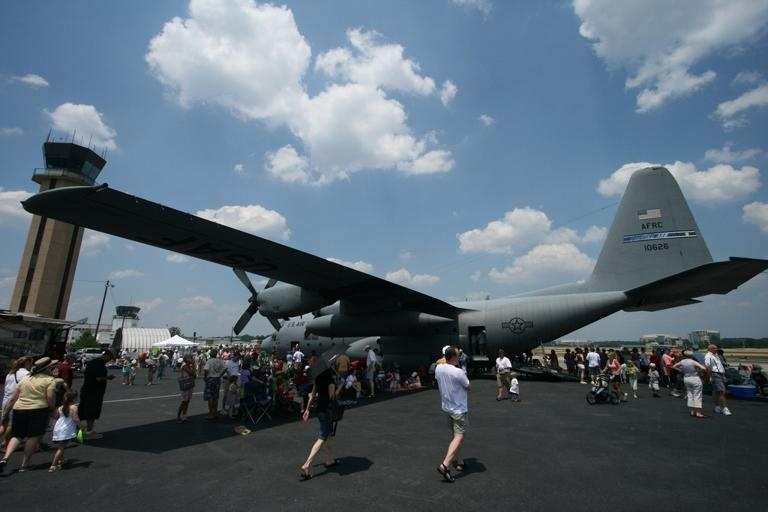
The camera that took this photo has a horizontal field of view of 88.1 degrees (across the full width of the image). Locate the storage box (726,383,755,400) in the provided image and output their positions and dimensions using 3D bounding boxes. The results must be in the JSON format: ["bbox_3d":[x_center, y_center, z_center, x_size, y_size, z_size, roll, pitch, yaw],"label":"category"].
[{"bbox_3d":[12.665,4.779,14.067,0.722,0.353,0.917,13,-14,-42],"label":"storage box"}]

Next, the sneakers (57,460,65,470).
[{"bbox_3d":[-7.066,4.503,8.655,0.075,0.119,0.340,1,-5,-27],"label":"sneakers"}]

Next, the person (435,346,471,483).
[{"bbox_3d":[1.416,3.153,8.305,0.664,2.527,1.150,-2,-5,7],"label":"person"}]

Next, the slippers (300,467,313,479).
[{"bbox_3d":[-1.608,4.430,8.098,0.150,0.163,0.399,-2,-30,-4],"label":"slippers"}]

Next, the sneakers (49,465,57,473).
[{"bbox_3d":[-7.067,4.496,8.487,0.162,0.129,0.172,3,-6,-40],"label":"sneakers"}]

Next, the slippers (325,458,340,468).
[{"bbox_3d":[-1.113,4.410,8.492,0.281,0.081,0.132,-5,-8,6],"label":"slippers"}]

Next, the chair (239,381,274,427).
[{"bbox_3d":[-4.036,4.477,12.258,1.124,1.451,1.146,7,-16,-29],"label":"chair"}]

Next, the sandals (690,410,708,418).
[{"bbox_3d":[8.865,4.412,11.228,0.301,0.174,0.340,-4,-5,36],"label":"sandals"}]

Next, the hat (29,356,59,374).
[{"bbox_3d":[-7.632,2.434,8.894,0.428,0.113,0.362,-13,13,1],"label":"hat"}]

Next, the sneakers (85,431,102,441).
[{"bbox_3d":[-7.548,4.630,10.277,0.468,0.163,0.175,10,-12,-12],"label":"sneakers"}]

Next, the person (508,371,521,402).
[{"bbox_3d":[4.354,4.320,13.315,0.319,0.976,0.976,-3,-5,18],"label":"person"}]

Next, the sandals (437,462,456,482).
[{"bbox_3d":[1.240,4.256,7.822,0.212,0.483,0.197,-30,30,-21],"label":"sandals"}]

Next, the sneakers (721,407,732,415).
[{"bbox_3d":[10.145,4.546,11.727,0.223,0.215,0.506,-15,-25,26],"label":"sneakers"}]

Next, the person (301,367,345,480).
[{"bbox_3d":[-1.374,3.396,8.439,0.850,2.171,0.908,0,-5,-13],"label":"person"}]

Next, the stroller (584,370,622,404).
[{"bbox_3d":[6.985,4.296,12.827,1.318,0.752,0.691,30,-31,-30],"label":"stroller"}]
